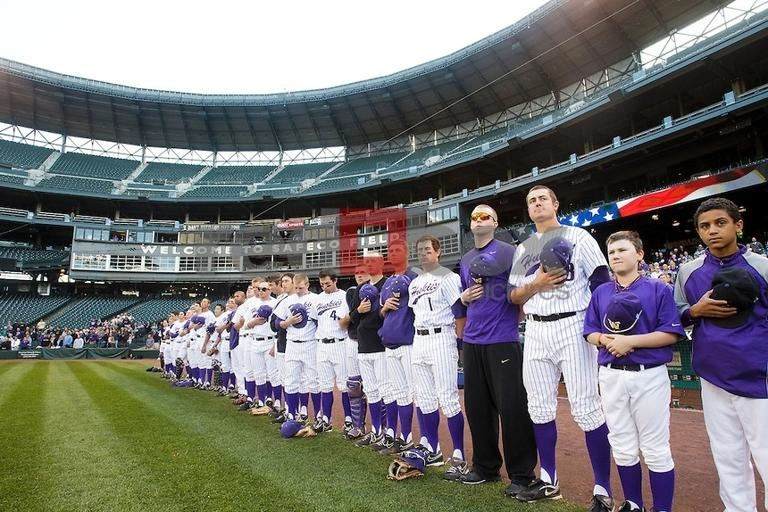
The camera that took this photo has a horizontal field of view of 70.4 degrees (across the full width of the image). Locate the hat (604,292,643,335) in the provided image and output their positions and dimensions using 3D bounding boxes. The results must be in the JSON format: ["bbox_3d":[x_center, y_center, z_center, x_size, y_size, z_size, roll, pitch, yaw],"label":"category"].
[{"bbox_3d":[3.742,0.920,8.612,0.500,0.640,0.358,16,-14,38],"label":"hat"}]

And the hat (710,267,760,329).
[{"bbox_3d":[5.490,0.670,8.531,0.683,0.882,0.426,-2,-14,29],"label":"hat"}]

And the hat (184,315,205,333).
[{"bbox_3d":[-5.810,2.055,16.884,0.596,0.288,0.763,-24,2,-10],"label":"hat"}]

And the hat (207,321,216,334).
[{"bbox_3d":[-4.965,2.087,15.790,0.303,0.352,0.163,16,-8,-29],"label":"hat"}]

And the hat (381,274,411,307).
[{"bbox_3d":[0.229,0.674,10.459,0.433,0.410,0.679,-10,30,22],"label":"hat"}]
